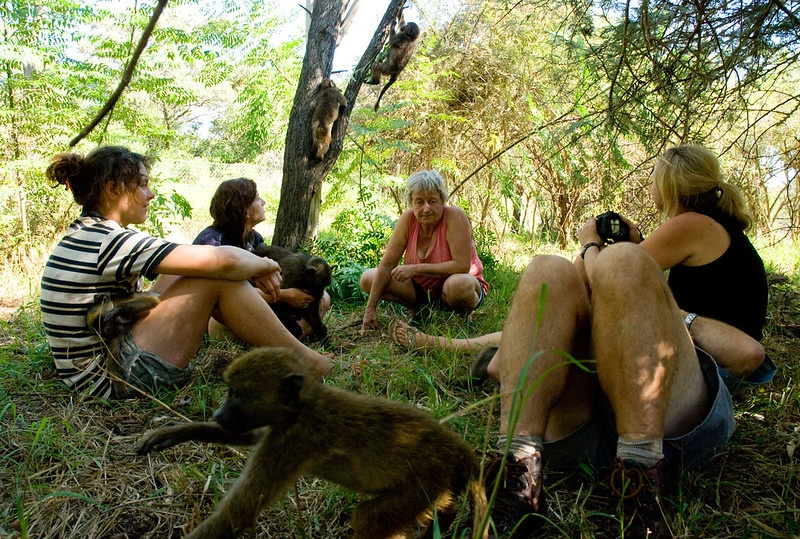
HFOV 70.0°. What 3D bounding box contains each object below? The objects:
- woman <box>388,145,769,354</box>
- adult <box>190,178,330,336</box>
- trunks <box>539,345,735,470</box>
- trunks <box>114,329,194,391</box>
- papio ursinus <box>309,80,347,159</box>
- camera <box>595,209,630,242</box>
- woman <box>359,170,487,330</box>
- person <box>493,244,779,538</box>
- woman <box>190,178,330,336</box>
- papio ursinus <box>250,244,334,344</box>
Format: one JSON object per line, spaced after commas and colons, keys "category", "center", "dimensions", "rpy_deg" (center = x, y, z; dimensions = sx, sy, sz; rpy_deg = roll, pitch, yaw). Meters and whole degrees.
{"category": "woman", "center": [1.352, -0.290, 5.146], "dimensions": [2.847, 1.615, 1.242], "rpy_deg": [-1, 5, 1]}
{"category": "adult", "center": [-1.430, -0.203, 6.029], "dimensions": [1.323, 1.462, 1.134], "rpy_deg": [-6, 18, -36]}
{"category": "trunks", "center": [1.517, 0.888, 3.723], "dimensions": [1.053, 0.403, 0.793], "rpy_deg": [-6, -11, -19]}
{"category": "trunks", "center": [-1.856, 0.770, 4.575], "dimensions": [0.573, 0.178, 0.576], "rpy_deg": [11, -11, 12]}
{"category": "papio ursinus", "center": [-1.005, -2.038, 7.816], "dimensions": [0.380, 1.117, 0.508], "rpy_deg": [4, 2, 4]}
{"category": "camera", "center": [1.763, -0.356, 4.772], "dimensions": [0.286, 0.279, 0.271], "rpy_deg": [1, 5, -3]}
{"category": "woman", "center": [0.259, -0.219, 6.684], "dimensions": [1.407, 1.751, 1.331], "rpy_deg": [1, 7, 11]}
{"category": "person", "center": [1.371, 0.769, 3.718], "dimensions": [1.238, 1.103, 2.056], "rpy_deg": [-2, -28, 32]}
{"category": "woman", "center": [-1.460, -0.154, 6.007], "dimensions": [1.345, 1.525, 1.165], "rpy_deg": [2, 14, -32]}
{"category": "papio ursinus", "center": [-1.404, 0.204, 6.516], "dimensions": [1.476, 0.884, 0.451], "rpy_deg": [15, 10, 34]}
